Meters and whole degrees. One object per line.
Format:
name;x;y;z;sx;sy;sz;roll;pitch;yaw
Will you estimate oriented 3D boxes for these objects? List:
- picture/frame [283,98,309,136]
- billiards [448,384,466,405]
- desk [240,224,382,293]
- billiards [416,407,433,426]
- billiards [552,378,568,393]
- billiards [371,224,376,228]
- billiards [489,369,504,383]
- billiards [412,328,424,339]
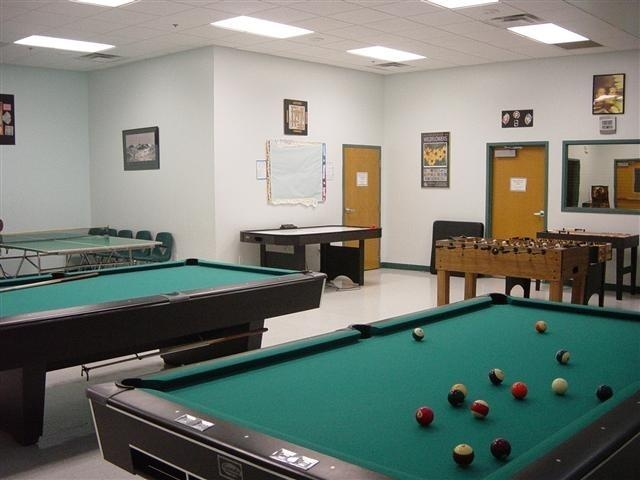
picture/frame;-0.449;-2.250;8.433;0.055;0.594;0.621;10;15;36
billiards;0.479;0.536;1.590;0.042;0.044;0.083;1;0;15
desk;-0.106;0.354;8.220;2.357;1.124;1.273;-4;6;-41
billiards;0.324;0.545;1.423;0.055;0.055;0.055;4;-34;1
billiards;0.882;0.527;1.701;0.056;0.053;0.055;2;7;38
billiards;1.093;-0.282;9.502;0.076;0.094;0.138;0;2;41
billiards;0.682;0.525;1.774;0.052;0.051;0.053;-1;11;9
billiards;0.499;0.480;2.345;0.050;0.027;0.048;5;23;-6
